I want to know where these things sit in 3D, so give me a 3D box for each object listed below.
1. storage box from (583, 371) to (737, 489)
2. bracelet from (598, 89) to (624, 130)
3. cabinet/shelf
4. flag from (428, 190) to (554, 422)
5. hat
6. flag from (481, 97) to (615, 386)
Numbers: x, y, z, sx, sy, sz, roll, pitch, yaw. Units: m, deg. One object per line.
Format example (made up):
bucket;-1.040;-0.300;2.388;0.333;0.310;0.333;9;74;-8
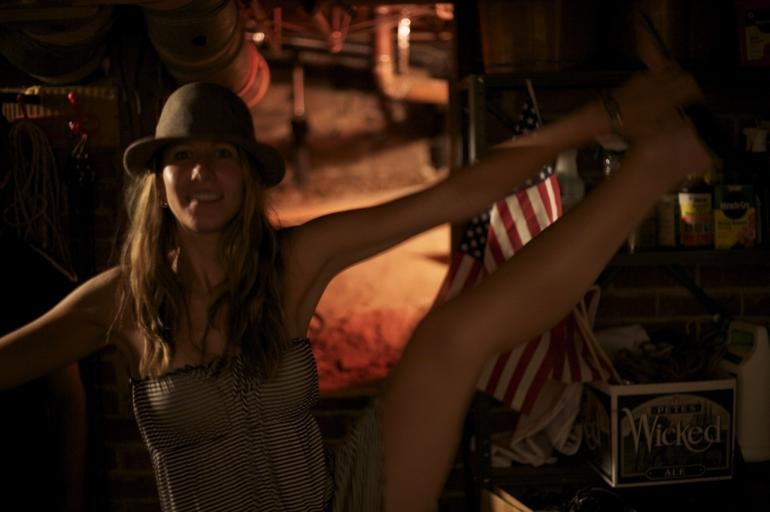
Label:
storage box;1.021;0.590;3.058;0.406;0.280;0.421;-1;-5;1
bracelet;0.751;-0.484;2.785;0.029;0.124;0.066;-12;1;-17
cabinet/shelf;0.815;0.150;3.045;1.550;1.601;0.498;1;-4;-8
flag;0.463;0.143;3.059;0.496;0.769;0.221;-8;2;19
hat;-0.615;-0.443;2.885;0.524;0.294;0.490;1;-5;-2
flag;0.513;-0.109;3.214;0.598;1.310;0.086;3;-25;-6
